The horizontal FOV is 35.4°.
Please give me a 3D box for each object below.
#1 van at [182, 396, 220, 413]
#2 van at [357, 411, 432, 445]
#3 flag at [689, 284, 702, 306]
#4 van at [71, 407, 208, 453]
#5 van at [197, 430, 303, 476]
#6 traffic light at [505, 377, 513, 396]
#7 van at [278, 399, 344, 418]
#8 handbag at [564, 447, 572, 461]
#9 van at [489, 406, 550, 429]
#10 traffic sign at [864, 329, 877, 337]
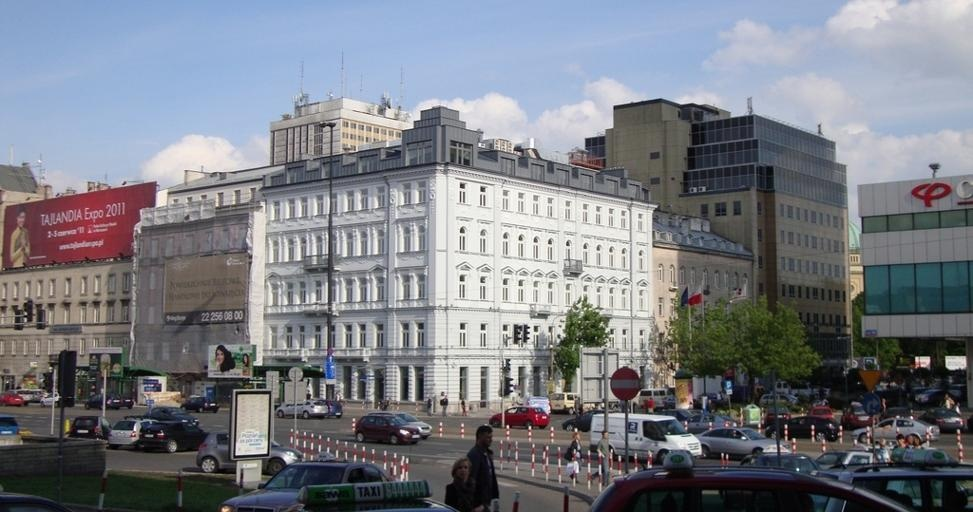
[{"bbox_3d":[-36.601,18.972,195.285,3.708,1.408,2.070,6,-4,6],"label":"van"},{"bbox_3d":[-10.375,18.566,165.899,7.383,3.541,1.615,-3,-15,11],"label":"van"},{"bbox_3d":[28.586,5.453,209.379,0.419,3.161,3.116,-5,7,-40],"label":"flag"},{"bbox_3d":[-36.924,19.083,164.369,5.248,3.900,12.206,-4,-6,37],"label":"van"},{"bbox_3d":[-24.063,19.964,151.658,9.271,3.372,4.689,-1,-5,2],"label":"van"},{"bbox_3d":[2.905,17.299,202.732,1.000,2.432,0.391,6,-16,-23],"label":"traffic light"},{"bbox_3d":[-21.518,18.813,187.465,7.765,2.373,2.810,3,-14,-13],"label":"van"},{"bbox_3d":[7.960,19.458,149.859,0.763,1.239,2.068,1,-14,-4],"label":"handbag"},{"bbox_3d":[4.058,18.938,179.840,6.213,2.865,2.742,0,-14,-1],"label":"van"},{"bbox_3d":[47.038,9.358,186.954,1.728,1.002,0.863,-1,10,7],"label":"traffic sign"}]
